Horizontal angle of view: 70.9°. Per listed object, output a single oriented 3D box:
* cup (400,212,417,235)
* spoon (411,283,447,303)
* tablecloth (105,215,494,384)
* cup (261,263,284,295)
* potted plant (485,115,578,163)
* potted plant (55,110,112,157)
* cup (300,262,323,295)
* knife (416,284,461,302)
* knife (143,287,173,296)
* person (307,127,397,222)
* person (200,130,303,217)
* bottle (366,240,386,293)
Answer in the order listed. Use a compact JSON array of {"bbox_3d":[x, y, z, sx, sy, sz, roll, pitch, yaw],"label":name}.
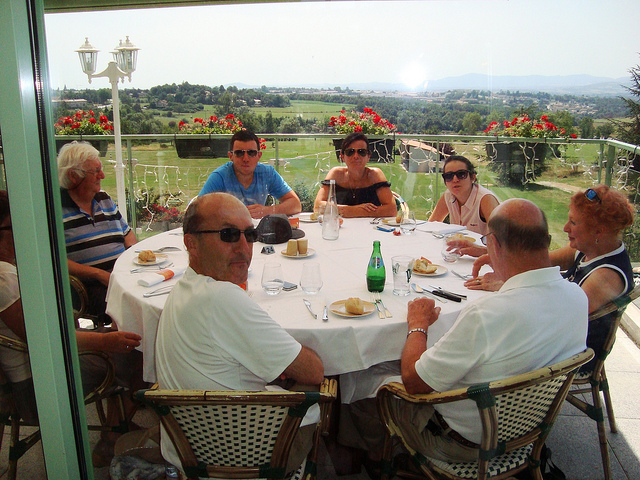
[{"bbox_3d":[0.564,-0.108,2.958,0.130,0.177,0.131,-1,1,0],"label":"cup"},{"bbox_3d":[0.476,0.213,1.990,0.048,0.035,0.224,-21,28,-28],"label":"spoon"},{"bbox_3d":[-0.071,0.274,2.343,1.836,0.597,1.315,2,9,12],"label":"tablecloth"},{"bbox_3d":[-0.207,0.171,2.042,0.119,0.150,0.113,0,15,0],"label":"cup"},{"bbox_3d":[2.801,-1.394,6.185,1.253,0.674,0.976,0,9,2],"label":"potted plant"},{"bbox_3d":[-2.840,-1.259,5.508,0.608,0.563,0.515,-1,-5,-37],"label":"potted plant"},{"bbox_3d":[-0.033,0.177,2.051,0.119,0.160,0.117,-1,5,0],"label":"cup"},{"bbox_3d":[0.542,0.224,1.959,0.041,0.013,0.177,-10,19,-28],"label":"knife"},{"bbox_3d":[-0.708,0.233,1.966,0.138,0.022,0.021,-11,42,-24],"label":"knife"},{"bbox_3d":[0.296,-0.490,3.685,0.622,0.796,0.452,0,-1,6],"label":"person"},{"bbox_3d":[-0.583,-0.546,3.653,0.802,0.643,0.488,-3,8,-17],"label":"person"},{"bbox_3d":[0.258,0.130,2.055,0.094,0.257,0.096,-1,17,0],"label":"bottle"}]
